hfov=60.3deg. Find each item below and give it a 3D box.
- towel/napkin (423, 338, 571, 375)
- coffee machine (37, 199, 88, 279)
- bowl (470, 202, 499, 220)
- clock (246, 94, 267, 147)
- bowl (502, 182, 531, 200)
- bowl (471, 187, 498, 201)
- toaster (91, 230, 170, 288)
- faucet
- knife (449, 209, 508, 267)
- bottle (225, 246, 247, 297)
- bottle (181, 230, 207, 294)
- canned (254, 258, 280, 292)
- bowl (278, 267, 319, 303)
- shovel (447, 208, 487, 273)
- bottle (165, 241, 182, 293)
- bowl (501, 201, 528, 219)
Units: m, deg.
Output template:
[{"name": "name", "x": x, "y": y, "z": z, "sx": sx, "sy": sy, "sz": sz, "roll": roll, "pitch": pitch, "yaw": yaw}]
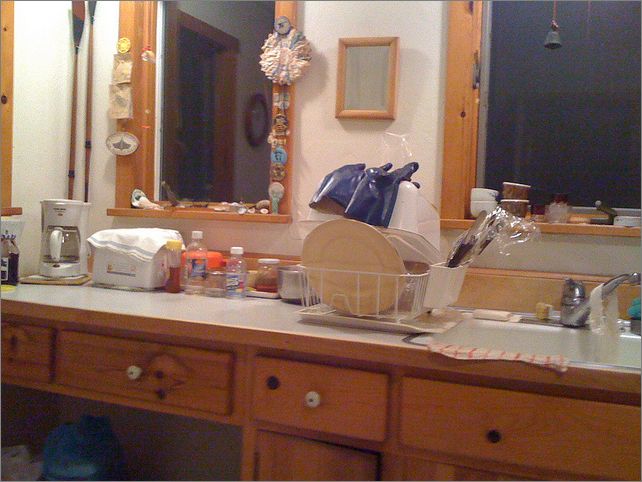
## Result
[{"name": "towel/napkin", "x": 0.489, "y": 0.317, "z": 1.569, "sx": 0.460, "sy": 0.043, "sz": 0.117, "roll": 7, "pitch": 2, "yaw": 8}, {"name": "coffee machine", "x": -1.081, "y": -0.008, "z": 2.346, "sx": 0.187, "sy": 0.325, "sz": 0.124, "roll": 2, "pitch": 3, "yaw": -24}, {"name": "bowl", "x": 0.648, "y": -0.112, "z": 2.190, "sx": 0.094, "sy": 0.061, "sz": 0.089, "roll": 1, "pitch": 1, "yaw": 0}, {"name": "clock", "x": -0.281, "y": -0.547, "z": 2.479, "sx": 0.036, "sy": 0.280, "sz": 0.229, "roll": -1, "pitch": 6, "yaw": -25}, {"name": "bowl", "x": 0.761, "y": -0.189, "z": 2.177, "sx": 0.086, "sy": 0.056, "sz": 0.083, "roll": 6, "pitch": -2, "yaw": 0}, {"name": "bowl", "x": 0.645, "y": -0.181, "z": 2.191, "sx": 0.067, "sy": 0.028, "sz": 0.064, "roll": 1, "pitch": 2, "yaw": 0}, {"name": "toaster", "x": -0.800, "y": 0.078, "z": 2.278, "sx": 0.312, "sy": 0.240, "sz": 0.110, "roll": 4, "pitch": 3, "yaw": 14}, {"name": "faucet", "x": 0.918, "y": 0.201, "z": 1.829, "sx": 0.090, "sy": 0.140, "sz": 0.226, "roll": 2, "pitch": 3, "yaw": -22}, {"name": "knife", "x": 0.504, "y": -0.012, "z": 1.844, "sx": 0.103, "sy": 0.267, "sz": 0.047, "roll": 32, "pitch": 4, "yaw": -17}, {"name": "bottle", "x": -0.335, "y": 0.123, "z": 2.212, "sx": 0.082, "sy": 0.197, "sz": 0.136, "roll": 3, "pitch": 3, "yaw": -7}, {"name": "bottle", "x": -0.513, "y": 0.101, "z": 2.282, "sx": 0.094, "sy": 0.218, "sz": 0.128, "roll": 3, "pitch": 3, "yaw": -11}, {"name": "canned", "x": -0.199, "y": 0.141, "z": 2.299, "sx": 0.129, "sy": 0.128, "sz": 0.129, "roll": 0, "pitch": 6, "yaw": 20}, {"name": "bowl", "x": -0.096, "y": 0.173, "z": 2.047, "sx": 0.165, "sy": 0.108, "sz": 0.162, "roll": -1, "pitch": -7, "yaw": 0}, {"name": "shovel", "x": 0.453, "y": 0.022, "z": 1.823, "sx": 0.068, "sy": 0.316, "sz": 0.043, "roll": 19, "pitch": 46, "yaw": -7}, {"name": "bottle", "x": -0.602, "y": 0.102, "z": 2.268, "sx": 0.066, "sy": 0.211, "sz": 0.121, "roll": 3, "pitch": 3, "yaw": -15}, {"name": "bowl", "x": 0.760, "y": -0.127, "z": 2.158, "sx": 0.128, "sy": 0.069, "sz": 0.073, "roll": 3, "pitch": 3, "yaw": -6}]
